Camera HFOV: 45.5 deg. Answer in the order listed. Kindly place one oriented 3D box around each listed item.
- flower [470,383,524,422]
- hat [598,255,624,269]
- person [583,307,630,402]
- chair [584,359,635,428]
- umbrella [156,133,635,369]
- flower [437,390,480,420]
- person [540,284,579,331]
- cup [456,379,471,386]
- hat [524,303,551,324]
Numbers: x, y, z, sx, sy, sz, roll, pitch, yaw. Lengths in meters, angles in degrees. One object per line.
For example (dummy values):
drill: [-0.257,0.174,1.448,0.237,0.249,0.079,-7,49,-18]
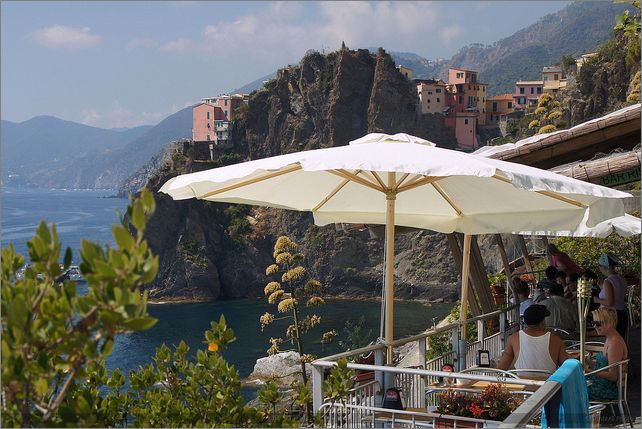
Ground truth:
flower: [1.912,2.090,8.455,0.396,0.299,0.394,-10,4,7]
hat: [4.638,0.745,12.306,0.224,0.115,0.238,1,12,31]
person: [3.727,1.978,10.299,0.816,1.431,0.670,-2,1,17]
chair: [3.838,2.328,10.138,0.633,0.968,0.891,2,-2,21]
umbrella: [1.168,0.399,10.575,5.534,2.325,3.313,3,-2,-2]
flower: [1.538,2.126,8.664,0.288,0.172,0.280,-1,7,4]
person: [3.676,1.539,11.868,0.489,1.038,0.543,3,31,22]
cup: [1.826,2.138,9.789,0.149,0.104,0.150,0,-5,0]
hat: [2.846,1.293,10.074,0.226,0.180,0.329,-5,29,34]
